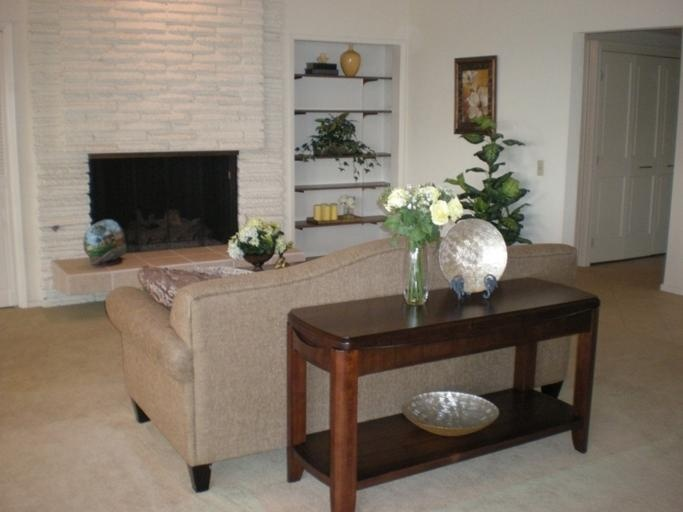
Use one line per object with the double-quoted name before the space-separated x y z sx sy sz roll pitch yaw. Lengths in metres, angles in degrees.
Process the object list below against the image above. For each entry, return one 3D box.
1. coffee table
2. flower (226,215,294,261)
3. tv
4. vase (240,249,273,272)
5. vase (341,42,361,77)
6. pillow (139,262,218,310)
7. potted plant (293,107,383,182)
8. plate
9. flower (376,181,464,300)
"coffee table" 0.437 0.648 2.622 0.951 0.507 0.327 -9 18 -30
"flower" -0.612 -0.134 4.358 0.335 0.255 0.363 -1 4 7
"tv" -1.823 -0.557 5.695 1.120 0.732 0.119 -5 18 -27
"vase" -0.642 0.037 4.301 0.167 0.097 0.163 -5 11 -28
"vase" 0.105 -2.253 6.665 0.225 0.352 0.197 0 15 -2
"pillow" -0.880 0.160 2.913 0.359 0.085 0.221 5 24 35
"potted plant" -0.031 -1.261 6.771 1.059 0.816 0.616 -3 15 -12
"plate" 0.615 0.006 2.686 0.343 0.348 0.118 2 0 -4
"flower" 0.301 -0.108 2.851 0.500 0.676 0.466 -3 14 -8
